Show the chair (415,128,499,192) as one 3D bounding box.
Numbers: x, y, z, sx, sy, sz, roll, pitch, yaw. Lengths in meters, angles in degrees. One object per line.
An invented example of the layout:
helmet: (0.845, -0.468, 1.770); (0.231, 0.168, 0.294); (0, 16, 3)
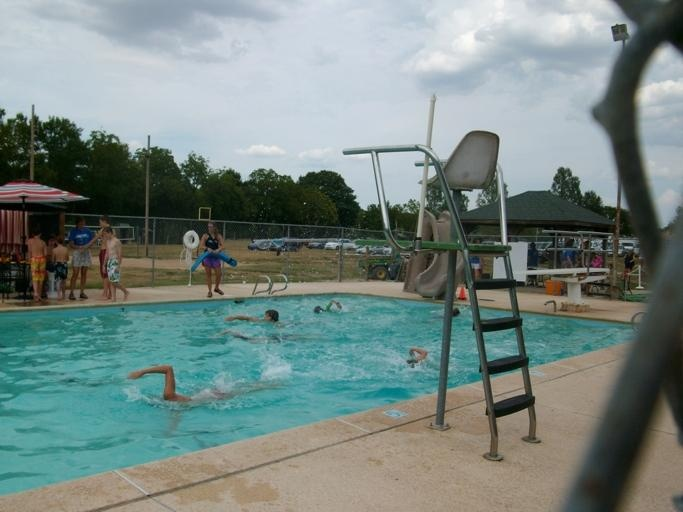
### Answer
chair: (1.105, -0.843, 5.289); (0.534, 0.467, 0.742); (1, 1, -16)

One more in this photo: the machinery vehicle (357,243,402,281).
machinery vehicle: (1.620, 0.383, 23.989); (1.849, 0.634, 1.283); (0, 9, 4)

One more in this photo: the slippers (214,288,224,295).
slippers: (-3.297, 0.991, 15.456); (0.132, 0.140, 0.361); (4, 8, -42)

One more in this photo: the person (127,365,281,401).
person: (-1.759, 1.601, 7.412); (1.651, 0.461, 0.716); (1, 2, -21)

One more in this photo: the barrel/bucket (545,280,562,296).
barrel/bucket: (7.021, 1.091, 18.845); (0.495, 0.589, 0.615); (-1, 4, -6)

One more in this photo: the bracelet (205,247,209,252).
bracelet: (-3.506, -0.146, 14.898); (0.094, 0.071, 0.096); (1, 3, 20)
